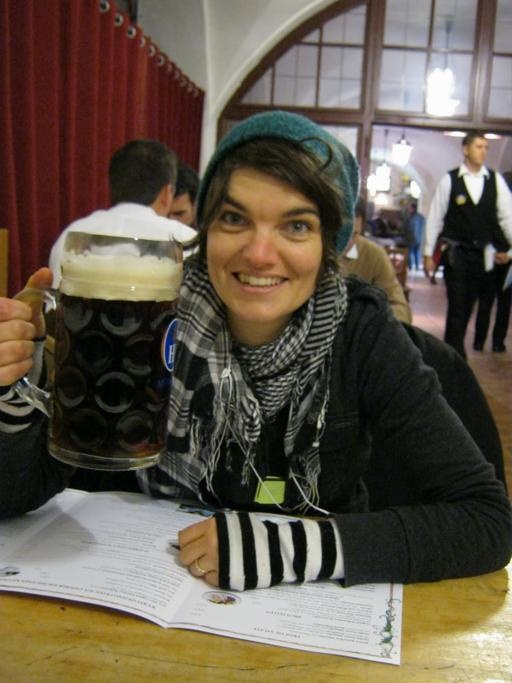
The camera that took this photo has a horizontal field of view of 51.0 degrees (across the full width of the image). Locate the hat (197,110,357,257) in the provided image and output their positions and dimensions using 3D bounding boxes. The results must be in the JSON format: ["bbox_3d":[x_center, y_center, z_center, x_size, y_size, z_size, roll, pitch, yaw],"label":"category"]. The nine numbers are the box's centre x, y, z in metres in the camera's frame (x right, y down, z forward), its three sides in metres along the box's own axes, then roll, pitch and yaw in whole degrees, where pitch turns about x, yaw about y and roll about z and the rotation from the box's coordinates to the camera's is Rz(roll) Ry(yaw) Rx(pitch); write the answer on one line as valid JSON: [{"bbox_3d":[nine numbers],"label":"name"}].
[{"bbox_3d":[0.076,-0.307,0.923,0.218,0.292,0.114,4,15,-3],"label":"hat"}]

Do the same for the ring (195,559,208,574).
[{"bbox_3d":[-0.062,0.254,0.607,0.009,0.012,0.007,21,47,38],"label":"ring"}]
